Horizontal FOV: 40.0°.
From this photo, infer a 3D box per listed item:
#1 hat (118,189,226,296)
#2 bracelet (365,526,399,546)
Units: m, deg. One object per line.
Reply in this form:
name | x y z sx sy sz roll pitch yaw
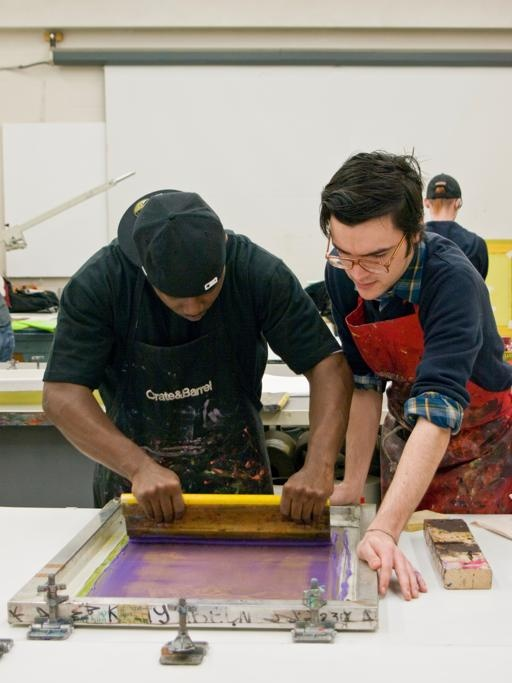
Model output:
hat | -0.171 -0.192 1.432 0.199 0.096 0.245 -19 50 -11
bracelet | 0.233 0.358 1.310 0.044 0.027 0.041 -12 -2 -15
